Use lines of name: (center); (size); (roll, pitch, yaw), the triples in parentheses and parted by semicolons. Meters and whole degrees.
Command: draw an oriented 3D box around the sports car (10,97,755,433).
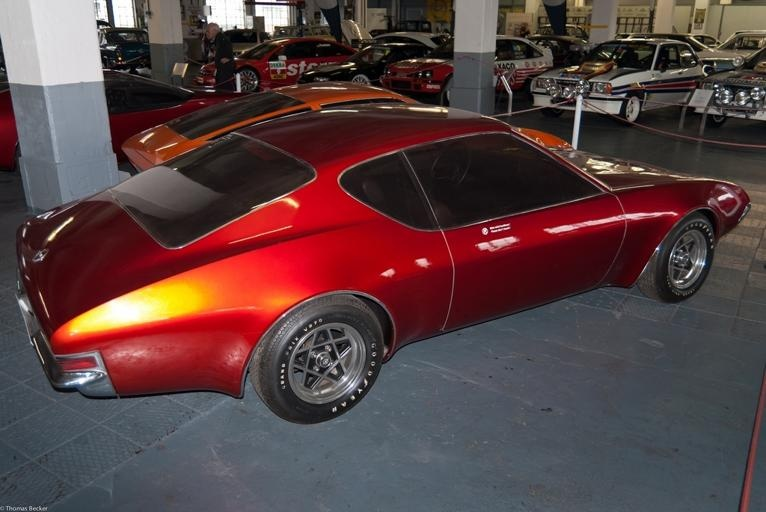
sports car: (0.305, -0.239, 3.625); (5.237, 1.251, 2.323); (-12, 25, -23)
